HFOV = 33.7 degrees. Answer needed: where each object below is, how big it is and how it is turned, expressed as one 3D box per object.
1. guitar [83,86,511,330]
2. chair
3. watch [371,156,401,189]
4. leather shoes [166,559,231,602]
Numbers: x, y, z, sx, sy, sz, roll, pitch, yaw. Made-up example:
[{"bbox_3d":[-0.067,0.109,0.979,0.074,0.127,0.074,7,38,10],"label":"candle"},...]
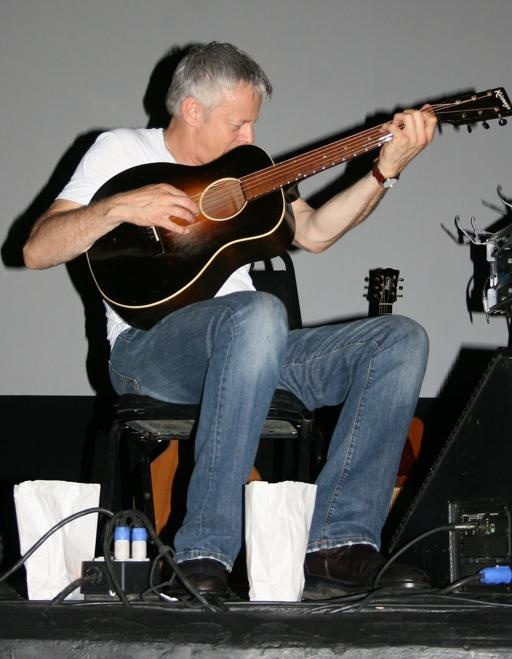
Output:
[{"bbox_3d":[0.156,-0.292,2.006,1.159,0.156,0.387,-22,80,-21],"label":"guitar"},{"bbox_3d":[-0.087,0.196,2.018,0.491,0.686,0.495,-1,31,-11],"label":"chair"},{"bbox_3d":[0.289,-0.350,1.900,0.058,0.038,0.069,16,24,-34],"label":"watch"},{"bbox_3d":[-0.078,0.374,1.252,0.125,0.043,0.067,7,54,-7],"label":"leather shoes"}]
